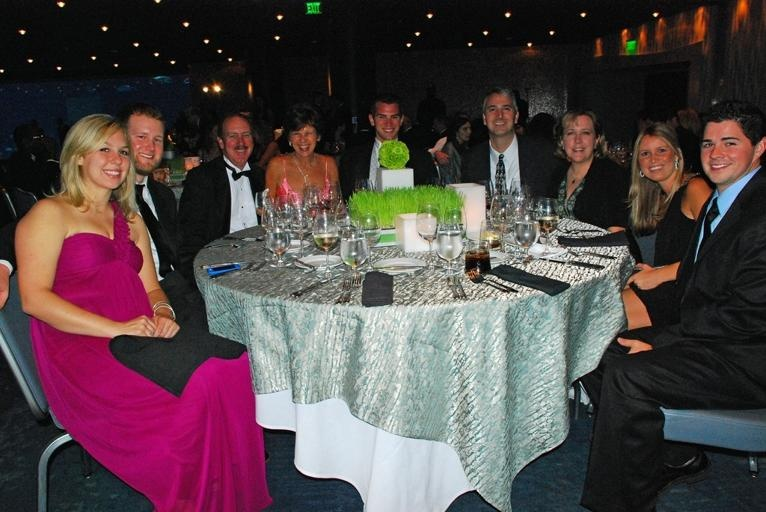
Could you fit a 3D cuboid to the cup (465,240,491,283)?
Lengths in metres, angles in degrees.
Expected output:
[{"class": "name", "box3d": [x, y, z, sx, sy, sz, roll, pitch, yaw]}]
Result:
[{"class": "cup", "box3d": [0.491, 0.031, 2.822, 0.125, 0.230, 0.229, 0, -5, 0]}]

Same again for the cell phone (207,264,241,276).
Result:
[{"class": "cell phone", "box3d": [-0.847, 0.069, 2.877, 0.130, 0.037, 0.072, -8, 18, -27]}]

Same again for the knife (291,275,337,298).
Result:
[{"class": "knife", "box3d": [-0.346, 0.152, 2.642, 0.065, 0.022, 0.258, 10, 22, 29]}]

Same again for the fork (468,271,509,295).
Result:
[{"class": "fork", "box3d": [0.517, 0.130, 2.633, 0.068, 0.040, 0.258, -25, 40, -23]}]

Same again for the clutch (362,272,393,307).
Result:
[{"class": "clutch", "box3d": [-0.020, 0.152, 2.555, 0.149, 0.086, 0.259, -2, 17, 2]}]

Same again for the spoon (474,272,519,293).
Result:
[{"class": "spoon", "box3d": [0.551, 0.133, 2.620, 0.069, 0.019, 0.221, -38, 38, -25]}]
